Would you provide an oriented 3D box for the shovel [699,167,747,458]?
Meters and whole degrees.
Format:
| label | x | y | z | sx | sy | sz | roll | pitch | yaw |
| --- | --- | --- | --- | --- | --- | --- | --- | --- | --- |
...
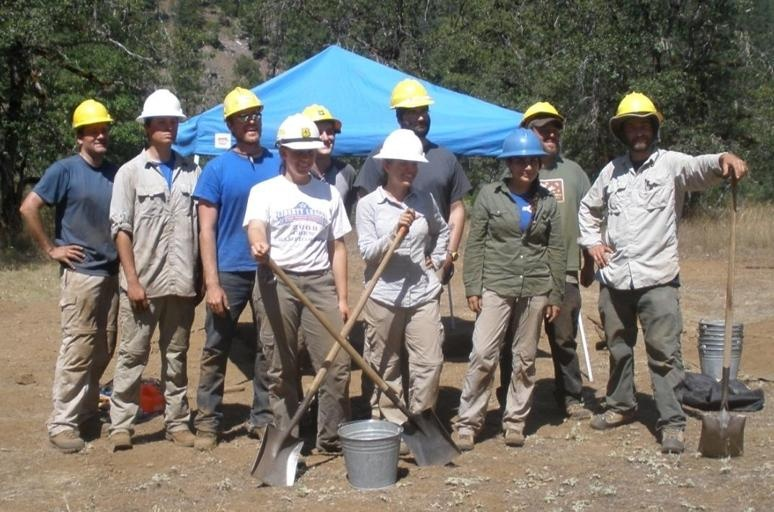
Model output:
| label | x | y | z | sx | sy | sz | roll | pitch | yaw |
| --- | --- | --- | --- | --- | --- | --- | --- | --- | --- |
| shovel | 4.159 | 0.710 | 12.006 | 0.537 | 3.373 | 1.407 | -2 | 6 | 20 |

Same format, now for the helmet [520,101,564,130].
| label | x | y | z | sx | sy | sz | roll | pitch | yaw |
| --- | --- | --- | --- | --- | --- | --- | --- | --- | --- |
| helmet | 2.084 | -1.962 | 12.782 | 0.589 | 0.296 | 0.484 | -3 | -2 | 6 |

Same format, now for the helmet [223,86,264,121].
| label | x | y | z | sx | sy | sz | roll | pitch | yaw |
| --- | --- | --- | --- | --- | --- | --- | --- | --- | --- |
| helmet | -1.825 | -1.915 | 12.024 | 0.480 | 0.392 | 0.269 | -4 | 5 | 2 |

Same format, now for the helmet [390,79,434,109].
| label | x | y | z | sx | sy | sz | roll | pitch | yaw |
| --- | --- | --- | --- | --- | --- | --- | --- | --- | --- |
| helmet | 0.265 | -2.076 | 12.513 | 0.404 | 0.288 | 0.508 | -3 | 4 | -18 |

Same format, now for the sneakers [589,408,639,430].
| label | x | y | z | sx | sy | sz | roll | pitch | yaw |
| --- | --- | --- | --- | --- | --- | --- | --- | --- | --- |
| sneakers | 2.894 | 2.074 | 12.304 | 0.618 | 0.274 | 0.246 | -2 | 4 | -8 |

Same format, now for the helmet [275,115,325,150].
| label | x | y | z | sx | sy | sz | roll | pitch | yaw |
| --- | --- | --- | --- | --- | --- | --- | --- | --- | --- |
| helmet | -1.071 | -1.476 | 11.520 | 0.386 | 0.293 | 0.502 | -1 | 7 | -28 |

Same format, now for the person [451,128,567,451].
| label | x | y | z | sx | sy | sz | roll | pitch | yaw |
| --- | --- | --- | --- | --- | --- | --- | --- | --- | --- |
| person | 1.532 | 0.404 | 12.017 | 1.444 | 3.944 | 0.681 | -4 | 5 | 1 |

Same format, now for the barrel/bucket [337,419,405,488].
| label | x | y | z | sx | sy | sz | roll | pitch | yaw |
| --- | --- | --- | --- | --- | --- | --- | --- | --- | --- |
| barrel/bucket | -0.231 | 2.319 | 11.234 | 0.728 | 0.562 | 0.734 | 0 | -6 | 0 |

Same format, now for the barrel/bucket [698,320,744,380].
| label | x | y | z | sx | sy | sz | roll | pitch | yaw |
| --- | --- | --- | --- | --- | --- | --- | --- | --- | --- |
| barrel/bucket | 4.564 | 1.334 | 13.481 | 0.707 | 0.866 | 0.738 | 1 | -4 | 0 |

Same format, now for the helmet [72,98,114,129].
| label | x | y | z | sx | sy | sz | roll | pitch | yaw |
| --- | --- | --- | --- | --- | --- | --- | --- | --- | --- |
| helmet | -3.843 | -1.794 | 12.310 | 0.399 | 0.258 | 0.482 | -10 | 3 | -36 |

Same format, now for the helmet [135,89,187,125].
| label | x | y | z | sx | sy | sz | roll | pitch | yaw |
| --- | --- | --- | --- | --- | --- | --- | --- | --- | --- |
| helmet | -2.847 | -1.887 | 12.000 | 0.558 | 0.404 | 0.389 | -5 | 5 | -17 |

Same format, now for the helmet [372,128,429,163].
| label | x | y | z | sx | sy | sz | roll | pitch | yaw |
| --- | --- | --- | --- | --- | --- | --- | --- | --- | --- |
| helmet | 0.122 | -1.314 | 11.603 | 0.491 | 0.265 | 0.432 | 3 | 0 | 38 |

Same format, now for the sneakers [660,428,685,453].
| label | x | y | z | sx | sy | sz | roll | pitch | yaw |
| --- | --- | --- | --- | --- | --- | --- | --- | --- | --- |
| sneakers | 3.515 | 2.256 | 11.780 | 0.270 | 0.296 | 0.348 | -2 | 5 | 20 |
